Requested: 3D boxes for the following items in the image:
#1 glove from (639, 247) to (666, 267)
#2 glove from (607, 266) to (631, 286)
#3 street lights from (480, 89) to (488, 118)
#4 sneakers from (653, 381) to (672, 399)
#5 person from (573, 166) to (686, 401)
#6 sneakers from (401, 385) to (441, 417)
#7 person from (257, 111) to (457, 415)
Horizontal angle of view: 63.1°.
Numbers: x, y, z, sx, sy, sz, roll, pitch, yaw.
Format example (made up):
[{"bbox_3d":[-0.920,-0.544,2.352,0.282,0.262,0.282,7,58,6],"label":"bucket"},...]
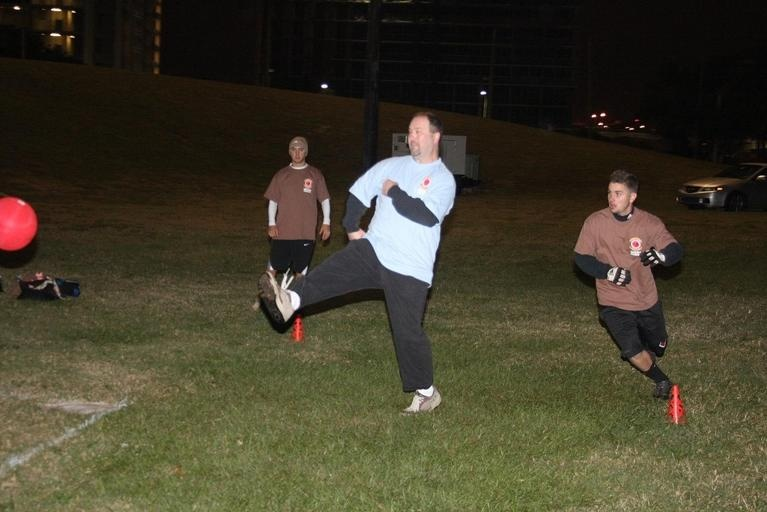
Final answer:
[{"bbox_3d":[2.675,0.008,6.244,0.236,0.193,0.234,4,13,13],"label":"glove"},{"bbox_3d":[2.341,0.217,6.207,0.236,0.207,0.165,-5,14,-27],"label":"glove"},{"bbox_3d":[8.193,-12.491,50.808,0.775,2.139,0.444,11,16,38],"label":"street lights"},{"bbox_3d":[2.937,1.422,6.607,0.244,0.149,0.120,-2,4,12],"label":"sneakers"},{"bbox_3d":[2.526,0.329,6.492,1.057,2.370,0.763,7,14,24],"label":"person"},{"bbox_3d":[0.446,1.428,6.395,0.485,0.205,0.191,-23,17,-26],"label":"sneakers"},{"bbox_3d":[-0.105,-0.018,6.046,1.482,2.690,0.558,2,13,4],"label":"person"}]
